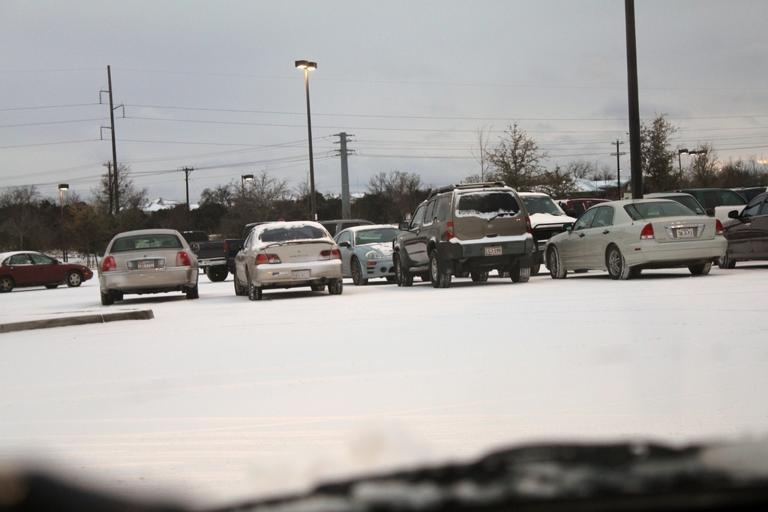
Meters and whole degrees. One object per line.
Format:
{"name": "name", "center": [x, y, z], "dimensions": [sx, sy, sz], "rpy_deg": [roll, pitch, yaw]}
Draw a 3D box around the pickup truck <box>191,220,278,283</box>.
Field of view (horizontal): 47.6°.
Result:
{"name": "pickup truck", "center": [-5.817, -0.141, 31.730], "dimensions": [2.367, 2.157, 4.774], "rpy_deg": [-1, 4, -14]}
